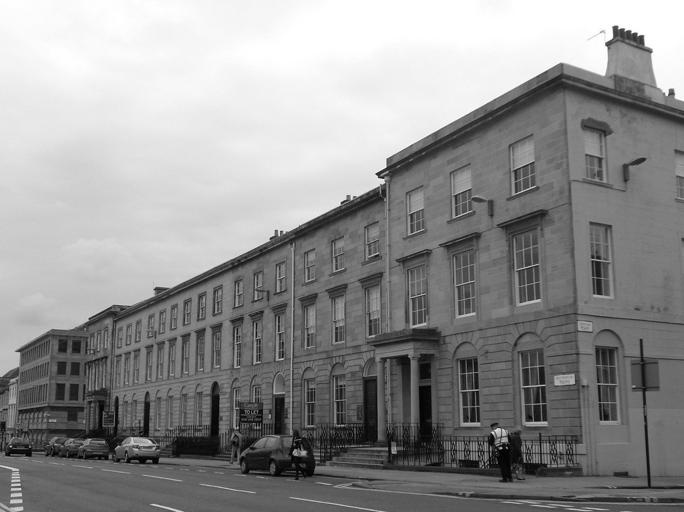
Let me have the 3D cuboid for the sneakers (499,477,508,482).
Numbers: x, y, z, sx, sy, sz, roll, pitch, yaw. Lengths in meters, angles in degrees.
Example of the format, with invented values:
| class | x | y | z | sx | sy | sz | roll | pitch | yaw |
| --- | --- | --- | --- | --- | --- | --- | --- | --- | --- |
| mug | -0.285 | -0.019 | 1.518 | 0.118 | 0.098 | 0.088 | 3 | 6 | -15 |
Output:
| class | x | y | z | sx | sy | sz | roll | pitch | yaw |
| --- | --- | --- | --- | --- | --- | --- | --- | --- | --- |
| sneakers | 5.538 | 7.682 | 25.859 | 0.300 | 0.197 | 0.117 | -2 | -9 | 42 |

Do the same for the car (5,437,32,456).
| class | x | y | z | sx | sy | sz | roll | pitch | yaw |
| --- | --- | --- | --- | --- | --- | --- | --- | --- | --- |
| car | -27.201 | 16.253 | 63.550 | 1.561 | 1.188 | 3.691 | 3 | -6 | -24 |

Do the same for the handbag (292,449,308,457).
| class | x | y | z | sx | sy | sz | roll | pitch | yaw |
| --- | --- | --- | --- | --- | --- | --- | --- | --- | --- |
| handbag | -1.648 | 7.743 | 29.725 | 0.554 | 0.287 | 0.351 | 3 | -20 | -10 |

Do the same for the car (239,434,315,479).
| class | x | y | z | sx | sy | sz | roll | pitch | yaw |
| --- | --- | --- | --- | --- | --- | --- | --- | --- | --- |
| car | -2.643 | 8.479 | 31.912 | 1.892 | 1.390 | 3.224 | 12 | -19 | -33 |

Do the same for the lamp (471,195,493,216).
| class | x | y | z | sx | sy | sz | roll | pitch | yaw |
| --- | --- | --- | --- | --- | --- | --- | --- | --- | --- |
| lamp | 6.088 | -2.181 | 31.939 | 0.965 | 1.106 | 0.722 | -5 | -1 | -2 |

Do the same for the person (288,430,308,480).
| class | x | y | z | sx | sy | sz | roll | pitch | yaw |
| --- | --- | --- | --- | --- | --- | --- | --- | --- | --- |
| person | -1.723 | 7.899 | 30.026 | 0.714 | 1.946 | 1.374 | 1 | -20 | -4 |

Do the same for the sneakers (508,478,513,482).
| class | x | y | z | sx | sy | sz | roll | pitch | yaw |
| --- | --- | --- | --- | --- | --- | --- | --- | --- | --- |
| sneakers | 5.773 | 7.639 | 25.778 | 0.168 | 0.151 | 0.086 | 4 | -4 | -25 |
